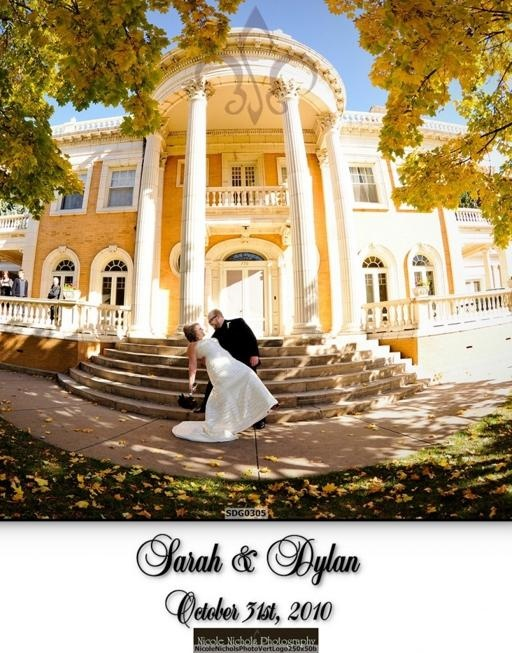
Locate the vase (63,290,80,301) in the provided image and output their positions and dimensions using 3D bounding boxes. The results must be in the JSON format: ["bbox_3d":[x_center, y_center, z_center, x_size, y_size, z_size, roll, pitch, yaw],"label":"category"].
[{"bbox_3d":[-4.111,-0.787,10.165,0.366,0.259,0.300,-2,-3,5],"label":"vase"}]

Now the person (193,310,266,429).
[{"bbox_3d":[-0.293,0.580,6.436,0.878,1.745,0.436,-29,4,-35],"label":"person"}]

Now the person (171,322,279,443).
[{"bbox_3d":[-0.428,0.809,5.736,1.142,1.609,0.628,2,-13,-15],"label":"person"}]

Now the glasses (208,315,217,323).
[{"bbox_3d":[-0.574,-0.102,5.935,0.107,0.047,0.109,-1,28,-5],"label":"glasses"}]

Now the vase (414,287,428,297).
[{"bbox_3d":[3.577,-0.814,9.912,0.273,0.308,0.345,-5,-12,18],"label":"vase"}]
